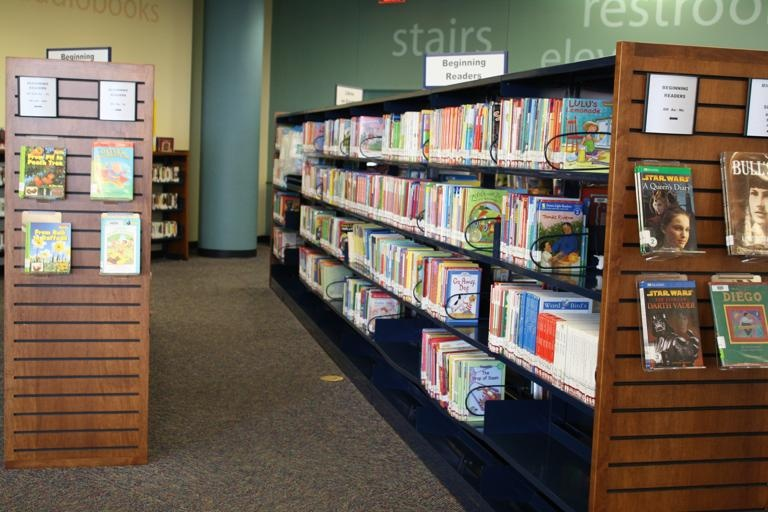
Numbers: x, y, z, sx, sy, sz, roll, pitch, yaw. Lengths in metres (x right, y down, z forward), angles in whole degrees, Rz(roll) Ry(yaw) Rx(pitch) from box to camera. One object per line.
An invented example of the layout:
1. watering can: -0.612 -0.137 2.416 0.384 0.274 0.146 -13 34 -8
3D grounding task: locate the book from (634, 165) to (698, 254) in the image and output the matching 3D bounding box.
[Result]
1. book: 1.139 -0.189 2.486 0.245 0.347 0.120 2 11 -8

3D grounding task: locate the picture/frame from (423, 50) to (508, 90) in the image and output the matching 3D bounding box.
1. picture/frame: 0.637 -1.491 4.910 0.753 0.287 0.095 10 28 32

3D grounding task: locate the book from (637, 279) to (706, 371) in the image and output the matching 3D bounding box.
1. book: 1.169 0.280 2.508 0.260 0.340 0.118 1 11 -11

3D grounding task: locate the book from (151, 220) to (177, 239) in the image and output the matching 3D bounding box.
1. book: -3.302 -0.375 9.262 0.143 0.271 0.506 6 12 15

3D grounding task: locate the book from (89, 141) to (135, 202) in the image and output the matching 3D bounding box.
1. book: -1.513 -0.463 3.429 0.247 0.323 0.077 0 4 -7

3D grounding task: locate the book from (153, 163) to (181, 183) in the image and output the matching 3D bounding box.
1. book: -3.274 -1.243 9.277 0.263 0.271 0.559 4 11 5

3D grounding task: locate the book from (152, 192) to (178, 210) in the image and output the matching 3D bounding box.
1. book: -3.339 -0.829 9.385 0.189 0.241 0.534 8 13 25

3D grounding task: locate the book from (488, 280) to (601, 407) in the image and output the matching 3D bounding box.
1. book: 0.865 0.399 3.118 0.250 0.398 0.846 -2 13 -26

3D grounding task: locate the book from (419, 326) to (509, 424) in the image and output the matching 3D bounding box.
1. book: 0.497 0.519 3.739 0.371 0.402 0.880 0 7 -8

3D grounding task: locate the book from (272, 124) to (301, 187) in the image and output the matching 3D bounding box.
1. book: -1.240 -1.294 7.950 0.509 0.851 0.889 0 6 -11

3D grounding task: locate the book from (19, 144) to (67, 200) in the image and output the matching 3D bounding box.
1. book: -1.879 -0.458 3.395 0.229 0.297 0.084 3 11 0

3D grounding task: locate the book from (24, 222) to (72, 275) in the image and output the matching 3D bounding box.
1. book: -1.886 -0.035 3.451 0.273 0.253 0.261 2 -6 -44
